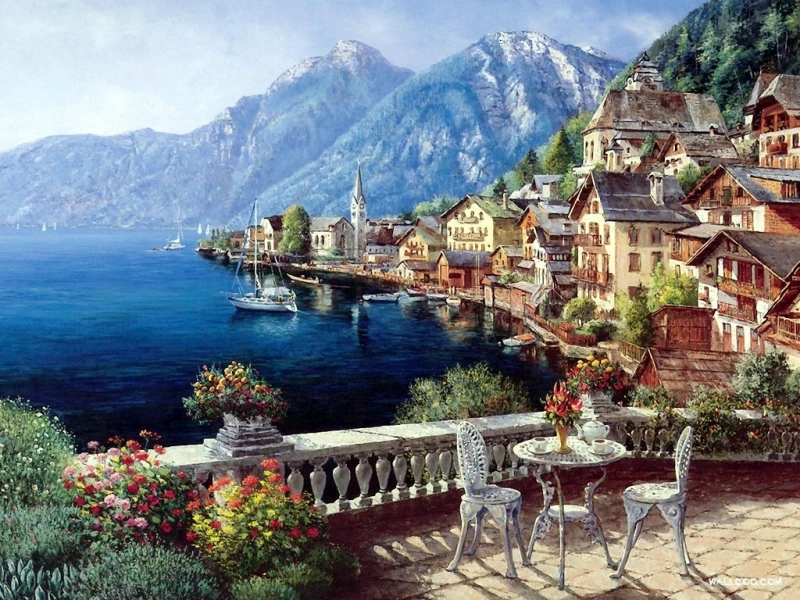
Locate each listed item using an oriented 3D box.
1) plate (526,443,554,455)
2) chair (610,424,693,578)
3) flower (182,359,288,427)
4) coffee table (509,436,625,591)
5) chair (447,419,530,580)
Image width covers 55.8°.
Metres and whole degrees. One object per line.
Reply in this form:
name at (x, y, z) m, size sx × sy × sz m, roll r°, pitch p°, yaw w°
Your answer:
plate at (2.117, 2.285, 11.684) m, size 0.215 × 0.169 × 0.426 m, roll -2°, pitch 2°, yaw -41°
chair at (3.797, 2.919, 11.232) m, size 1.227 × 2.160 × 0.732 m, roll -1°, pitch 1°, yaw -2°
flower at (-2.670, 1.567, 12.375) m, size 1.553 × 0.981 × 0.715 m, roll -1°, pitch 1°, yaw 11°
coffee table at (2.688, 2.973, 12.219) m, size 1.818 × 2.245 × 1.989 m, roll -4°, pitch 8°, yaw -23°
chair at (1.307, 2.930, 11.498) m, size 1.140 × 2.193 × 1.289 m, roll -1°, pitch 1°, yaw 9°
